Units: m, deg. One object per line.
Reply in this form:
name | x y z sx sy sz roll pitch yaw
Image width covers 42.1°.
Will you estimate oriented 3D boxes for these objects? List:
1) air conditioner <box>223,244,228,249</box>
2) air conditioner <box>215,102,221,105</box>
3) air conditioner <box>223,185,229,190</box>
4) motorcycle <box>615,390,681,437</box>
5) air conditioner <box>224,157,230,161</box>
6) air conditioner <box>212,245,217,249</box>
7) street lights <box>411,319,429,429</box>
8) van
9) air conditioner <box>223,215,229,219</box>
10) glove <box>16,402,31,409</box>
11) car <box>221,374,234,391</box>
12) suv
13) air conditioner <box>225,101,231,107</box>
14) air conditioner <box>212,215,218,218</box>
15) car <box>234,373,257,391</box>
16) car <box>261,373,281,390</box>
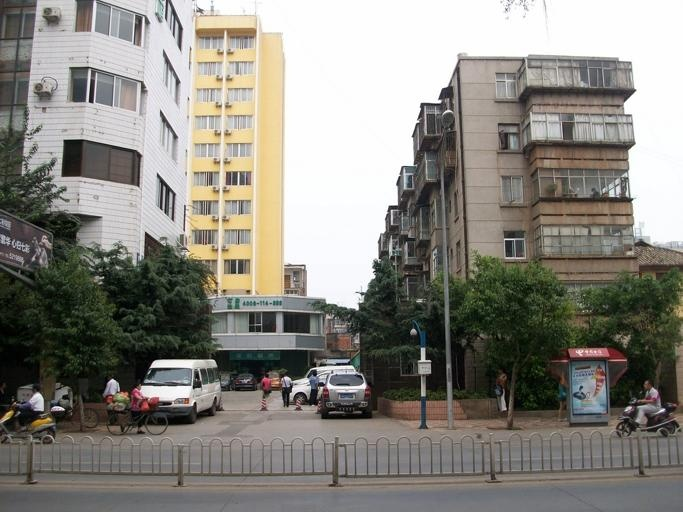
air conditioner | -9.743 -0.718 74.616 0.421 0.456 0.310 0 -12 -6
air conditioner | -10.574 -13.054 76.700 0.373 0.386 0.253 1 8 -1
air conditioner | -9.719 -5.698 75.137 0.309 0.325 0.217 0 0 -28
motorcycle | 11.189 5.848 31.987 2.290 1.996 0.749 -1 -8 4
air conditioner | -9.677 -8.174 75.564 0.338 0.357 0.116 -3 -3 -6
air conditioner | -10.582 -0.709 74.521 0.317 0.257 0.336 -1 -6 -1
street lights | 3.378 4.873 36.401 0.662 4.741 0.561 0 -4 -26
van | -6.961 5.608 38.103 2.829 2.919 3.525 0 -6 -2
air conditioner | -9.674 -3.212 74.936 0.517 0.358 0.212 2 -10 -12
glove | -11.485 5.412 32.036 0.425 0.184 0.346 0 -3 9
car | -8.337 9.276 65.065 0.888 1.234 2.106 1 -11 -7
suv | -0.355 6.240 41.728 4.692 2.778 3.853 -4 -6 6
air conditioner | -9.784 -13.030 76.595 0.421 0.302 0.346 3 -53 -2
air conditioner | -10.637 -3.210 74.759 0.458 0.339 0.138 -1 -10 3
car | -6.910 9.121 63.918 1.422 1.151 1.259 -1 -10 5
car | -5.102 9.638 68.328 1.868 0.949 3.676 0 0 -4
